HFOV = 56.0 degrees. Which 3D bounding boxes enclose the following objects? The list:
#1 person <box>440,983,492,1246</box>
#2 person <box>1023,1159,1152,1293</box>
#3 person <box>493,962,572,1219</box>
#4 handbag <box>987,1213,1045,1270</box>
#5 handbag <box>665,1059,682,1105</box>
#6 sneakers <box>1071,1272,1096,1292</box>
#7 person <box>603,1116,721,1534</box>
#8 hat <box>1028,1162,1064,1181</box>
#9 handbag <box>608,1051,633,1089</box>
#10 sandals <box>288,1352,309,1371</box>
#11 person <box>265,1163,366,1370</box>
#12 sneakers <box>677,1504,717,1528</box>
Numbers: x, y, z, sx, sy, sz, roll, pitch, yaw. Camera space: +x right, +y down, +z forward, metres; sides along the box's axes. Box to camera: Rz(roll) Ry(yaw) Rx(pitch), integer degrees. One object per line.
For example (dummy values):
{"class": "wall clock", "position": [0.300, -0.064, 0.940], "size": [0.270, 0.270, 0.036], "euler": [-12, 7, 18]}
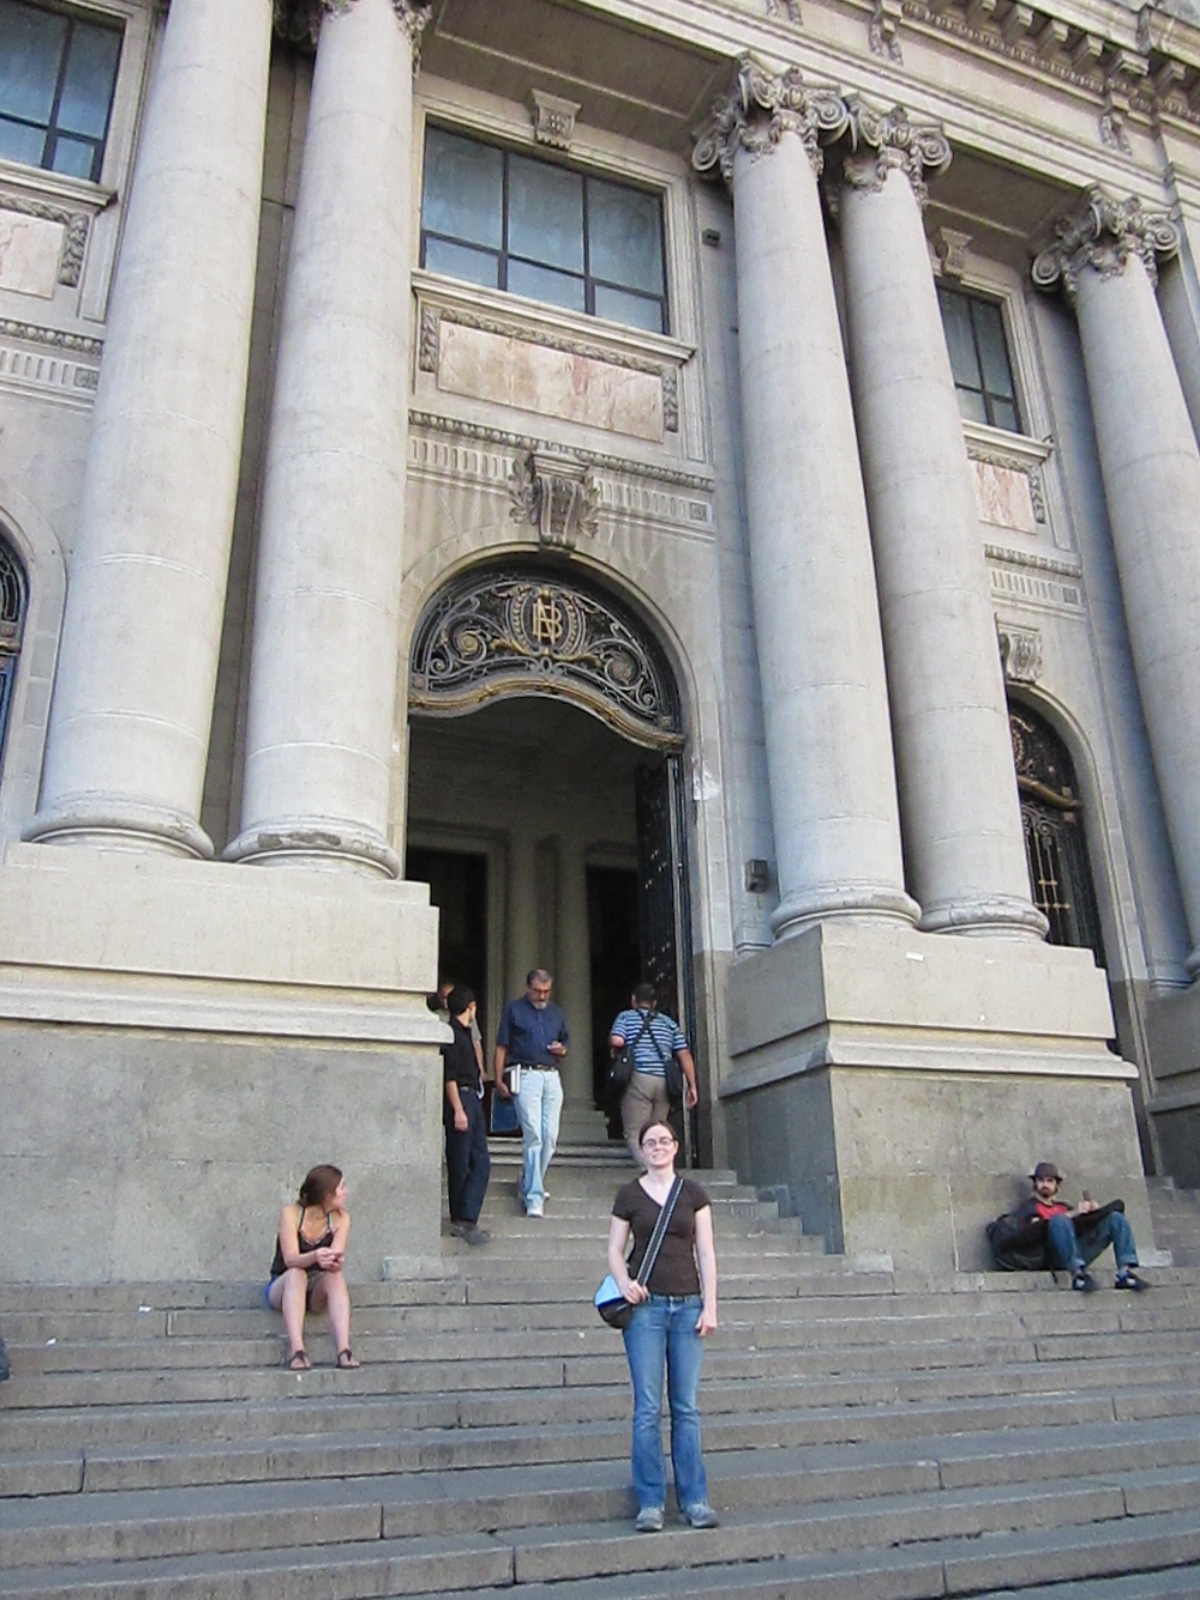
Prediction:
{"class": "person", "position": [-0.919, 2.055, 7.598], "size": [0.275, 1.640, 0.749], "euler": [0, -16, -7]}
{"class": "person", "position": [3.678, 3.179, 8.495], "size": [0.716, 0.890, 1.210], "euler": [-12, -19, 31]}
{"class": "person", "position": [-0.506, 2.086, 8.158], "size": [0.513, 1.681, 0.478], "euler": [-1, -15, -4]}
{"class": "handbag", "position": [3.141, 3.296, 8.467], "size": [0.193, 0.346, 0.373], "euler": [5, -14, -19]}
{"class": "handbag", "position": [0.549, 2.098, 8.536], "size": [0.132, 0.422, 0.300], "euler": [1, -5, 4]}
{"class": "sneakers", "position": [3.418, 3.386, 7.996], "size": [0.172, 0.142, 0.195], "euler": [-8, -17, 19]}
{"class": "person", "position": [0.199, 1.608, 3.545], "size": [0.382, 1.145, 0.420], "euler": [3, -16, -17]}
{"class": "hat", "position": [3.478, 2.891, 8.838], "size": [0.198, 0.088, 0.239], "euler": [8, -19, 12]}
{"class": "handbag", "position": [0.137, 2.023, 8.496], "size": [0.111, 0.267, 0.215], "euler": [12, -21, -40]}
{"class": "sandals", "position": [-1.307, 2.419, 4.899], "size": [0.095, 0.073, 0.256], "euler": [2, -18, -15]}
{"class": "person", "position": [-1.334, 2.128, 5.233], "size": [0.390, 0.841, 0.731], "euler": [3, -17, -16]}
{"class": "sneakers", "position": [0.289, 2.100, 3.347], "size": [0.050, 0.055, 0.110], "euler": [4, -22, -21]}
